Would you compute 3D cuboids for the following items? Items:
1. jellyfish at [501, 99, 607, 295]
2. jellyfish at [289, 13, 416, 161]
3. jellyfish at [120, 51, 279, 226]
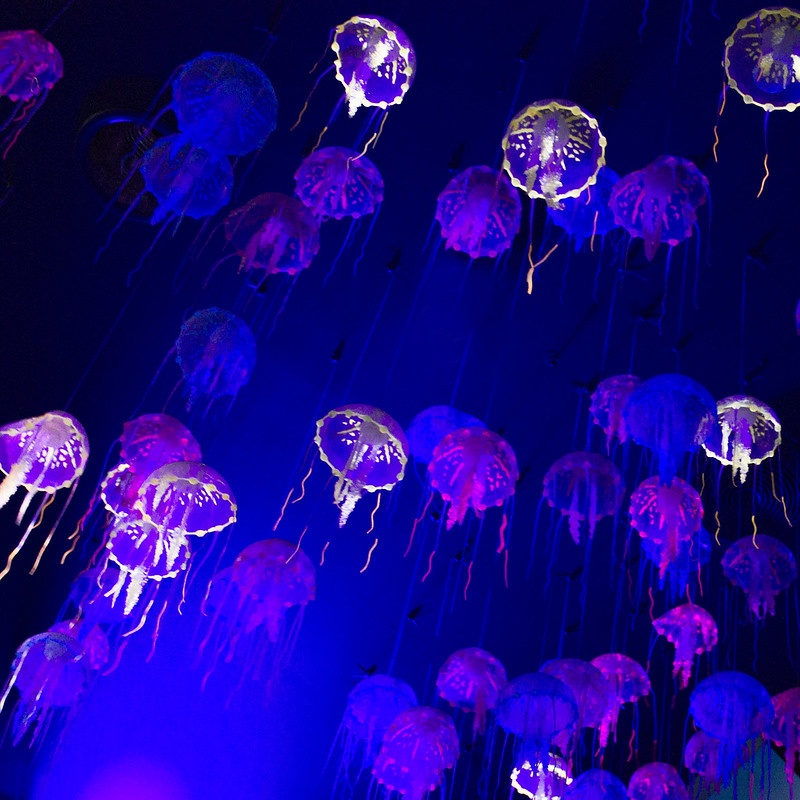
[{"bbox_3d":[1.094,-1.647,7.353,0.580,1.857,0.774,-2,-23,9],"label":"jellyfish"},{"bbox_3d":[-0.305,-2.556,7.839,0.703,1.550,0.851,13,11,24],"label":"jellyfish"},{"bbox_3d":[-1.516,-1.836,7.615,0.816,0.583,1.484,28,-79,-11],"label":"jellyfish"}]
